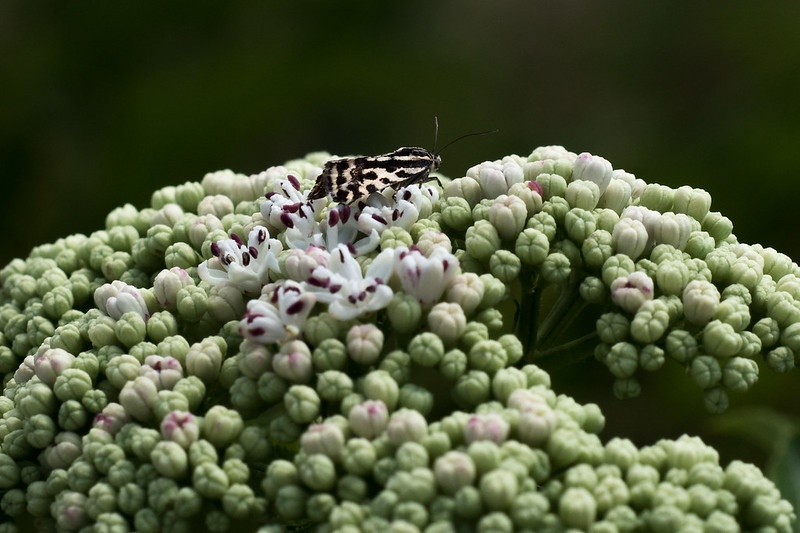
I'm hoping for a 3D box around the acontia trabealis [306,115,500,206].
[{"bbox_3d":[-0.006,-0.376,3.253,0.604,0.294,0.391,-11,11,-13],"label":"acontia trabealis"}]
